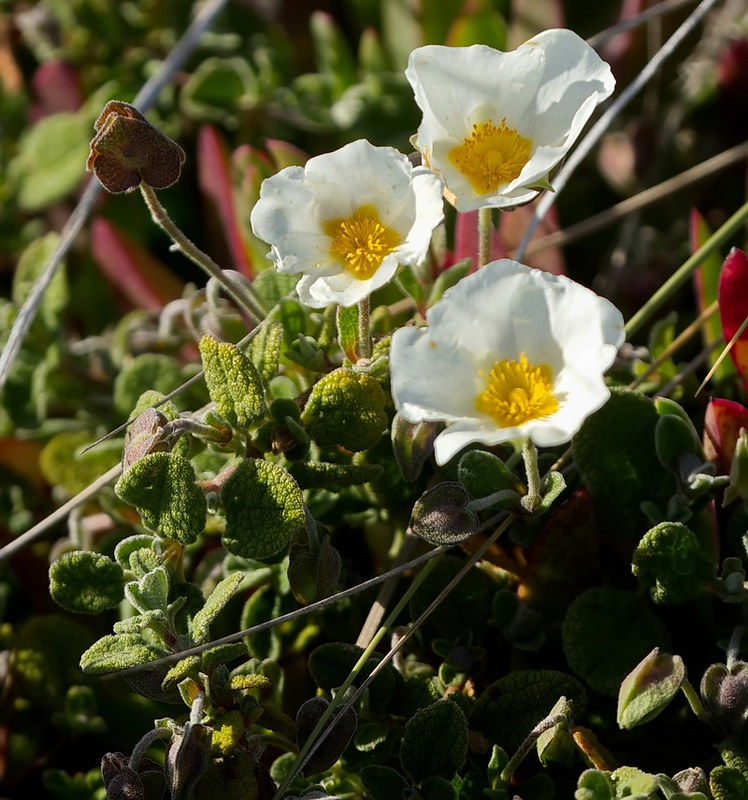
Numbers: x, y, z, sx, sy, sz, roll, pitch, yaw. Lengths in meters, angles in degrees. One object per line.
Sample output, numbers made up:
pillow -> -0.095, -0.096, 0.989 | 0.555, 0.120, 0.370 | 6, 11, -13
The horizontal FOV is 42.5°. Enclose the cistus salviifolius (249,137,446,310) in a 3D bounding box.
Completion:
cistus salviifolius -> -0.022, -0.132, 0.736 | 0.142, 0.050, 0.121 | 16, -55, -41

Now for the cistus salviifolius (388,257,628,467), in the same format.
cistus salviifolius -> 0.094, -0.014, 0.640 | 0.181, 0.066, 0.145 | -11, 48, 0

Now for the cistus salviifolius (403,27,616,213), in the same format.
cistus salviifolius -> 0.113, -0.236, 0.771 | 0.152, 0.066, 0.174 | -12, 10, -41
